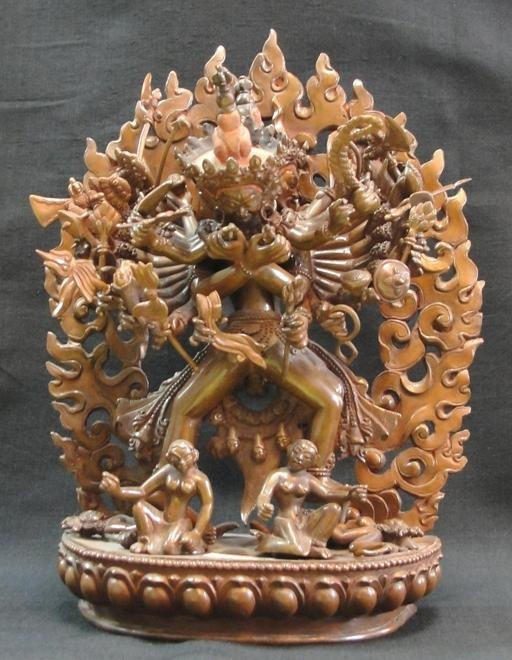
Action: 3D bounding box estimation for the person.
[{"bbox_3d":[-0.058,0.132,4.695,0.869,2.025,1.211,1,25,-3],"label":"person"}]
